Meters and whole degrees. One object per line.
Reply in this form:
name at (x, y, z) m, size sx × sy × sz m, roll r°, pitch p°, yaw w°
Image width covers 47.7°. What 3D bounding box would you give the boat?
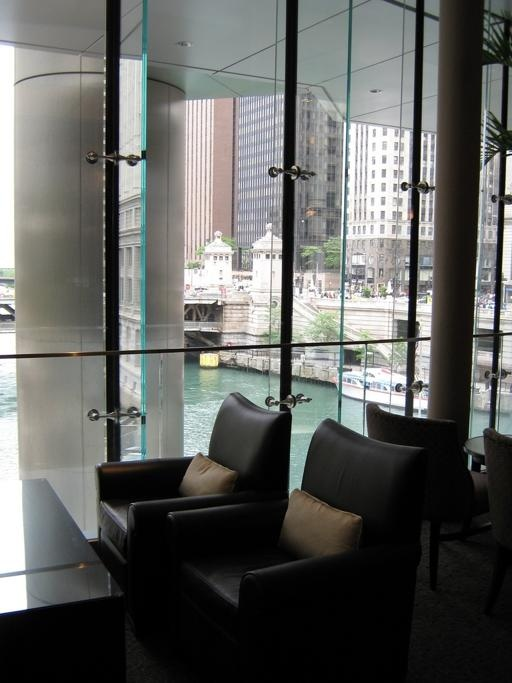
boat at (0.834, 0.344, 4.007) m, size 0.527 × 0.203 × 0.157 m, roll 17°, pitch -3°, yaw -8°
